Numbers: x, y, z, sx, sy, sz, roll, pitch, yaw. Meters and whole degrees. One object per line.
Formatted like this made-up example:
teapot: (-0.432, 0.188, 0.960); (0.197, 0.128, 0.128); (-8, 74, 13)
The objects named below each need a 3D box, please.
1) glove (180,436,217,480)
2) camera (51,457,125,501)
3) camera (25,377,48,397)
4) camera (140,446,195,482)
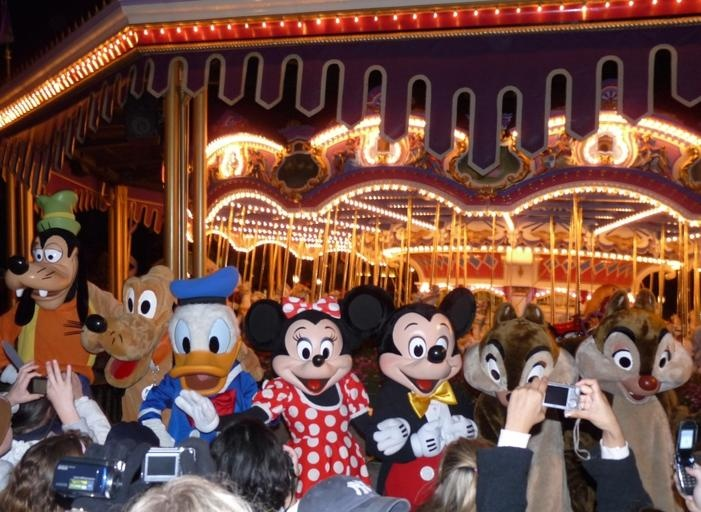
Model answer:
glove: (-0.774, 1.032, 3.490); (0.160, 0.186, 0.063); (-9, -5, 5)
camera: (-1.213, 1.081, 3.268); (0.324, 0.248, 0.142); (-8, -44, 22)
camera: (-2.065, 0.862, 4.517); (0.119, 0.134, 0.035); (4, 7, 5)
camera: (-0.894, 1.011, 3.355); (0.214, 0.201, 0.083); (0, -8, 4)
